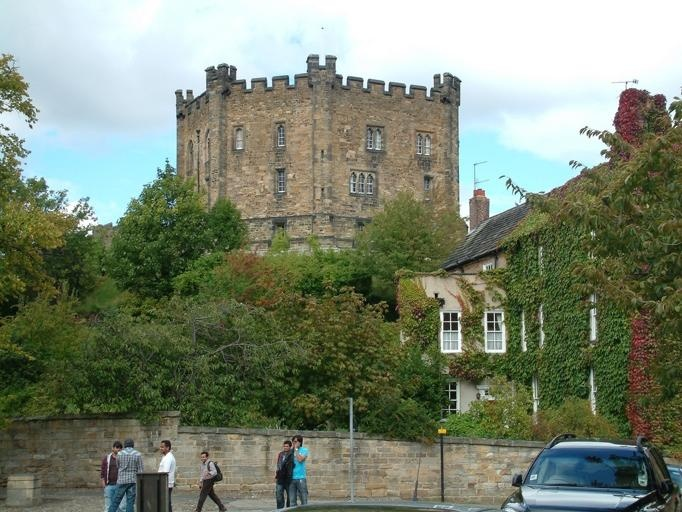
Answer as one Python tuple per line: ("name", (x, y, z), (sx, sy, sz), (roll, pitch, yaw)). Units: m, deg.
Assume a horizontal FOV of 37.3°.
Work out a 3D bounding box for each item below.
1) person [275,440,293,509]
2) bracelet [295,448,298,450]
("person", (-1.464, 5.646, 25.962), (0.403, 1.684, 0.558), (4, -13, -18))
("bracelet", (-1.164, 5.113, 26.417), (0.037, 0.073, 0.040), (2, 2, 4))
